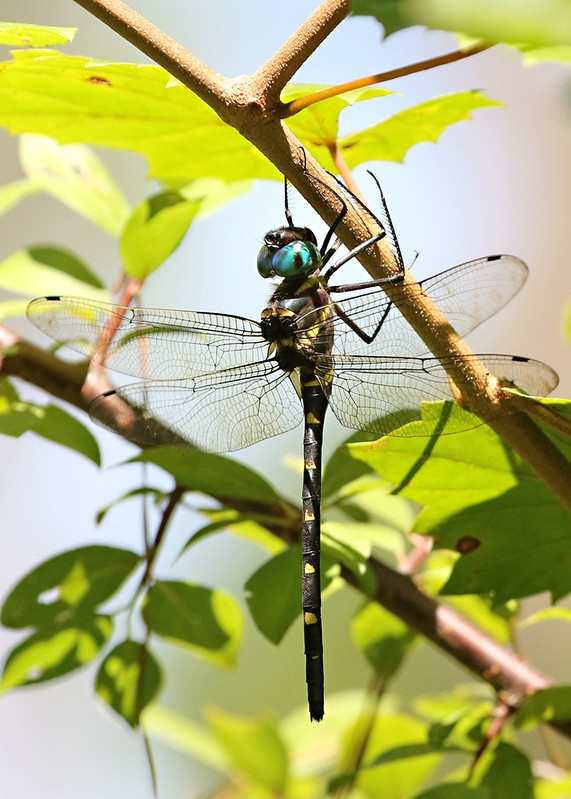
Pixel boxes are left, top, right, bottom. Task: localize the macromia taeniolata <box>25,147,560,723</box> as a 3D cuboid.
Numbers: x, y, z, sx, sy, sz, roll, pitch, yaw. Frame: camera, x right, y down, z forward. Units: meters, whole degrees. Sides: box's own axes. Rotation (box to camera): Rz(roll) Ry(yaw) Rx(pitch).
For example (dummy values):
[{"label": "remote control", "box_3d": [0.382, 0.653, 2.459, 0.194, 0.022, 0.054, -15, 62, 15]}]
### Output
[{"label": "macromia taeniolata", "box_3d": [0.028, 0.031, 0.840, 0.477, 0.205, 0.462, -2, -74, 11]}]
